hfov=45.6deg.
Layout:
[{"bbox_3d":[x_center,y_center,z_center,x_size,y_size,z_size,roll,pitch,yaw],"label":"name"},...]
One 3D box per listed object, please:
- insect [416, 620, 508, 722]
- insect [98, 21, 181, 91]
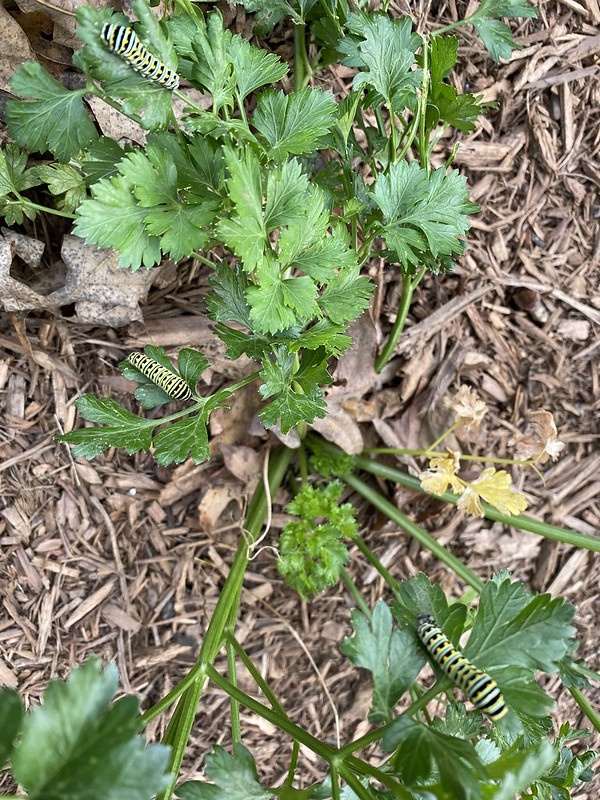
[{"bbox_3d":[0.357,0.595,1.601,0.102,0.345,0.088,-37,19,24],"label":"insect"},{"bbox_3d":[-0.352,-0.757,1.623,0.073,0.068,0.217,-37,-51,15],"label":"insect"}]
